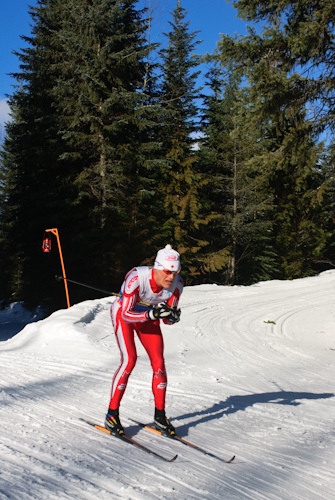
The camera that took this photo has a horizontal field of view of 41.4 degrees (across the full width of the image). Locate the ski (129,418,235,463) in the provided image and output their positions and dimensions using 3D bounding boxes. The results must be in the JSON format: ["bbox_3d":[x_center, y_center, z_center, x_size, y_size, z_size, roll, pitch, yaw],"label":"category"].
[{"bbox_3d":[0.111,1.753,4.049,0.802,0.087,0.113,18,-14,33],"label":"ski"}]
